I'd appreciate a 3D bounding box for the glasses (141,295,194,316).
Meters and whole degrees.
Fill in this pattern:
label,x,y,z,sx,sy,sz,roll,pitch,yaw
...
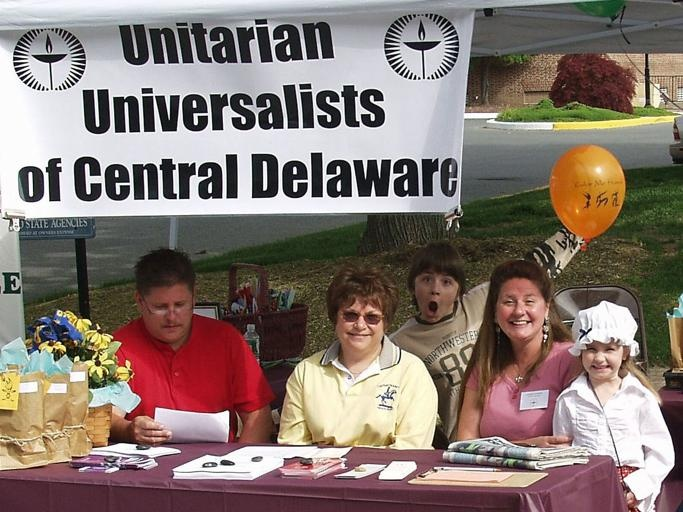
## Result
label,x,y,z,sx,sy,sz,roll,pitch,yaw
glasses,-0.962,0.278,4.250,0.283,0.096,0.146,0,-2,-19

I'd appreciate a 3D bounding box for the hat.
label,x,y,z,sx,sy,sz,roll,pitch,yaw
hat,1.343,0.308,3.839,0.233,0.216,0.266,3,10,29

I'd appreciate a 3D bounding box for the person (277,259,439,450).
label,x,y,z,sx,sy,sz,roll,pitch,yaw
person,0.061,0.493,4.429,0.804,1.405,0.813,0,-5,8

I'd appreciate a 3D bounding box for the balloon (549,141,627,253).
label,x,y,z,sx,sy,sz,roll,pitch,yaw
balloon,1.554,-0.393,5.023,0.436,0.777,0.526,-3,1,-1

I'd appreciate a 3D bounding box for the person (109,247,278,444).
label,x,y,z,sx,sy,sz,roll,pitch,yaw
person,-0.829,0.383,4.588,1.071,1.394,0.865,-4,7,-27

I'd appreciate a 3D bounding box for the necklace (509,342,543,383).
label,x,y,z,sx,sy,sz,roll,pitch,yaw
necklace,1.005,0.563,4.155,0.151,0.249,0.109,8,4,36

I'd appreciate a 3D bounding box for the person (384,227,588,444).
label,x,y,z,sx,sy,sz,roll,pitch,yaw
person,0.938,0.503,4.863,1.126,1.574,0.283,-6,-1,-25
